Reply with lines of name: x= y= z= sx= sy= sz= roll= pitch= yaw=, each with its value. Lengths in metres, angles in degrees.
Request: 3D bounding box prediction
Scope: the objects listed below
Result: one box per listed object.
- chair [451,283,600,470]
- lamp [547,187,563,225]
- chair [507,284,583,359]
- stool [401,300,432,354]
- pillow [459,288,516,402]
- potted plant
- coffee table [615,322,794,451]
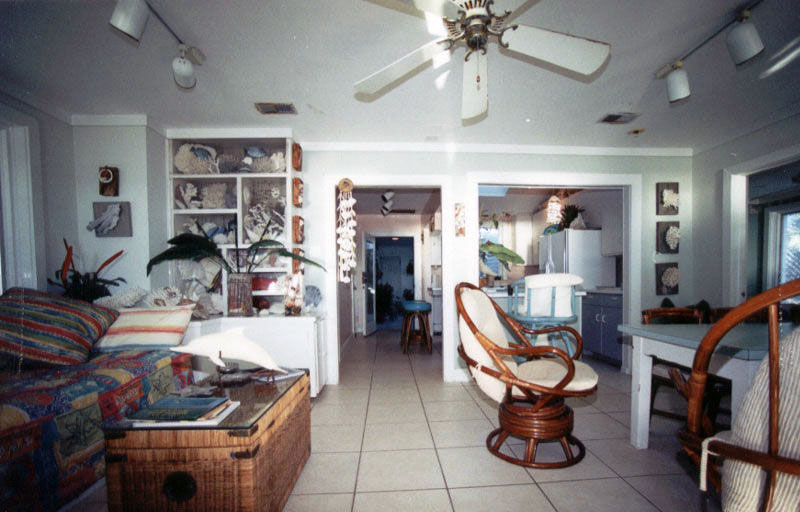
chair: x=0.993 y=0.934 z=4.298 sx=1.059 sy=1.282 sz=0.932 roll=-1 pitch=13 yaw=-1
lamp: x=2.325 y=-0.734 z=7.749 sx=0.196 sy=0.492 sz=0.928 roll=3 pitch=14 yaw=17
chair: x=1.429 y=0.592 z=5.204 sx=0.755 sy=0.820 sz=0.820 roll=0 pitch=2 yaw=20
stool: x=0.232 y=0.983 z=7.454 sx=0.608 sy=0.856 sz=0.626 roll=1 pitch=-2 yaw=-1
pillow: x=0.698 y=0.715 z=4.223 sx=0.271 sy=0.878 sz=0.551 roll=-21 pitch=-15 yaw=31
potted plant: x=-1.923 y=0.009 z=5.268 sx=1.151 sy=0.673 sz=1.172 roll=0 pitch=0 yaw=41
coffee table: x=2.433 y=1.024 z=4.022 sx=1.074 sy=1.024 sz=1.064 roll=2 pitch=1 yaw=-18
